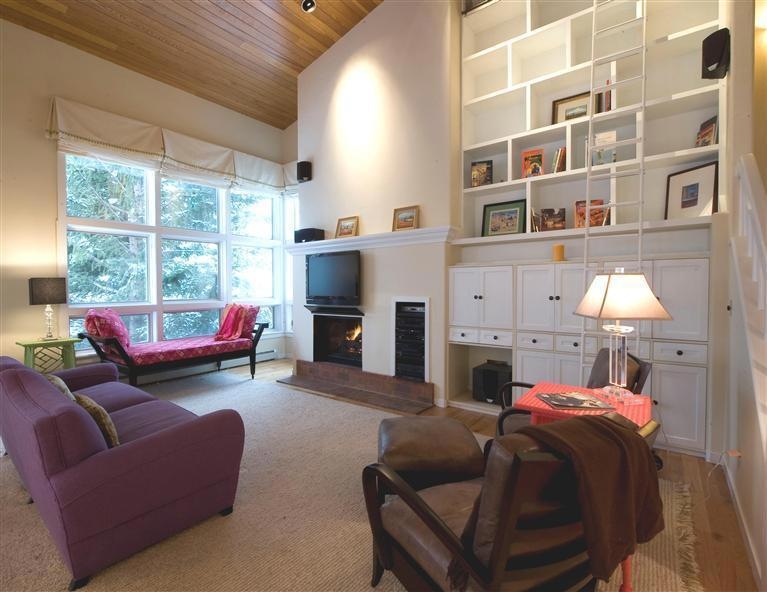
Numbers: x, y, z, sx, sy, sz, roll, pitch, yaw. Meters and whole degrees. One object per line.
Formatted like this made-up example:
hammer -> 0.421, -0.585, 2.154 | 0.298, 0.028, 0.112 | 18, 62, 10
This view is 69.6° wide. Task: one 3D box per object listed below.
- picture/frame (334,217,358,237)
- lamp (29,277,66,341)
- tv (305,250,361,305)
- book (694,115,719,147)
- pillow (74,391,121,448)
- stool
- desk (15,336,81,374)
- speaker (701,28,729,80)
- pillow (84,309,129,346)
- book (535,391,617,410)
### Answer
picture/frame -> -0.469, -0.850, 6.833 | 0.141, 0.249, 0.404 | -9, 12, -40
lamp -> -3.614, 0.127, 5.961 | 0.352, 0.670, 0.454 | -7, 11, -33
tv -> -0.602, -0.232, 6.848 | 0.694, 0.527, 0.054 | -1, 0, 43
book -> 2.861, -1.456, 4.877 | 0.045, 0.333, 0.265 | 22, -36, -9
pillow -> -1.899, 0.826, 3.729 | 0.108, 0.361, 0.322 | -24, -6, -6
stool -> 0.260, 1.099, 3.876 | 0.513, 0.258, 0.481 | 1, -3, -18
desk -> -3.559, 0.620, 5.920 | 0.397, 0.589, 0.621 | 0, 0, 40
speaker -> 2.736, -1.984, 4.542 | 0.184, 0.360, 0.223 | 3, 10, 23
pillow -> -2.969, 0.360, 5.926 | 0.371, 0.436, 0.397 | -8, 12, -39
book -> 1.315, 0.736, 3.841 | 0.471, 0.030, 0.269 | 1, 8, 10
